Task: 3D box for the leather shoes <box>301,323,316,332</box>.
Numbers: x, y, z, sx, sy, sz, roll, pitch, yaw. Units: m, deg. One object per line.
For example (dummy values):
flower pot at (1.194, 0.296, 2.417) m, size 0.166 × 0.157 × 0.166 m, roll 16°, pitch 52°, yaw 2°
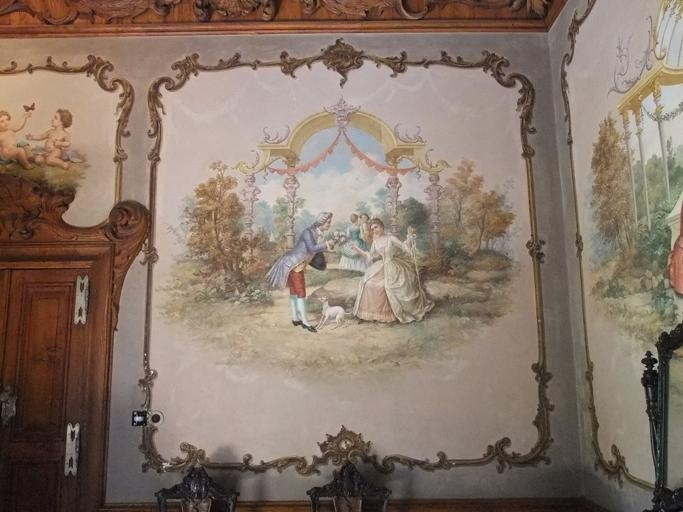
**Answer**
leather shoes at (-0.297, 0.663, 7.570) m, size 0.150 × 0.053 × 0.057 m, roll 24°, pitch -7°, yaw 7°
